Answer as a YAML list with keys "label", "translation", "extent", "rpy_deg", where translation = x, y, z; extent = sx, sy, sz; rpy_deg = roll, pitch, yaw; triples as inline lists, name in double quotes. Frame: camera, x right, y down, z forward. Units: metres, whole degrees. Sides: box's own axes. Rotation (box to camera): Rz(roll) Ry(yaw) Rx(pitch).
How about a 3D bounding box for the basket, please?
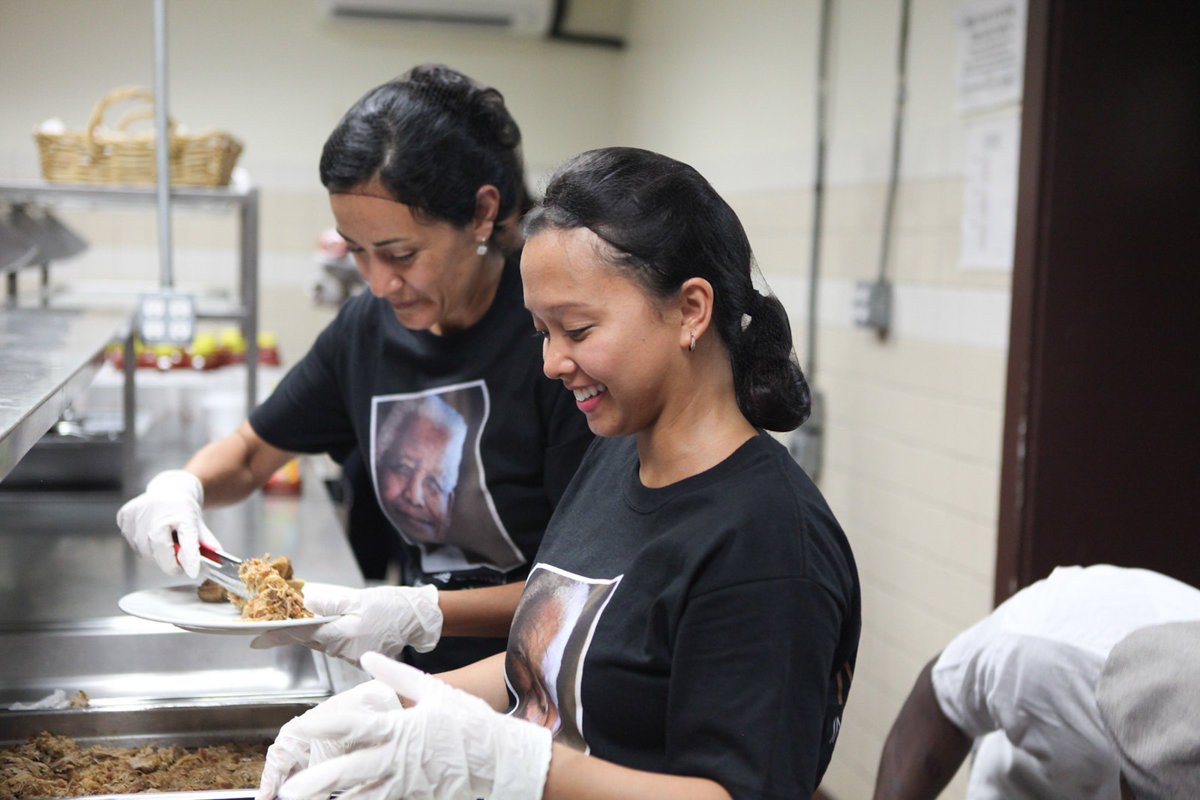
- label: "basket"
  translation: [-0.948, -0.512, 2.001]
  extent: [0.277, 0.155, 0.194]
  rpy_deg: [2, 5, -3]

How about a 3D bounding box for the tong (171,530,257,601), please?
- label: "tong"
  translation: [-0.793, 0.330, 2.043]
  extent: [0.341, 0.092, 0.087]
  rpy_deg: [21, -17, 51]
